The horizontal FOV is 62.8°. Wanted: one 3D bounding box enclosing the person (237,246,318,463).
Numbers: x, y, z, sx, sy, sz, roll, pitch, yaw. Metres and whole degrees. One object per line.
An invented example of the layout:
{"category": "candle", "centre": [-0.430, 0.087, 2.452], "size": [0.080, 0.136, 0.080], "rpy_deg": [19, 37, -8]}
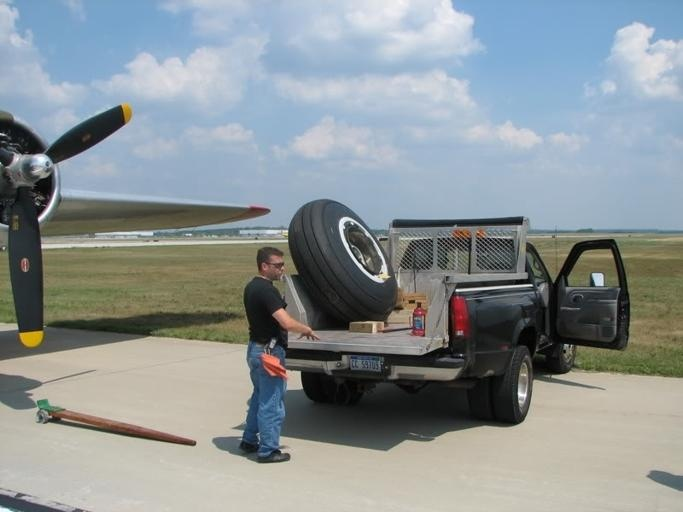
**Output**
{"category": "person", "centre": [-0.725, 0.996, 5.746], "size": [0.658, 2.150, 0.701], "rpy_deg": [-1, 3, -11]}

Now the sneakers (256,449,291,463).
{"category": "sneakers", "centre": [-0.701, 2.003, 5.680], "size": [0.364, 0.157, 0.123], "rpy_deg": [0, -1, -13]}

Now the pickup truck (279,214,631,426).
{"category": "pickup truck", "centre": [1.615, 0.707, 7.217], "size": [2.727, 1.462, 3.846], "rpy_deg": [0, 4, 34]}
